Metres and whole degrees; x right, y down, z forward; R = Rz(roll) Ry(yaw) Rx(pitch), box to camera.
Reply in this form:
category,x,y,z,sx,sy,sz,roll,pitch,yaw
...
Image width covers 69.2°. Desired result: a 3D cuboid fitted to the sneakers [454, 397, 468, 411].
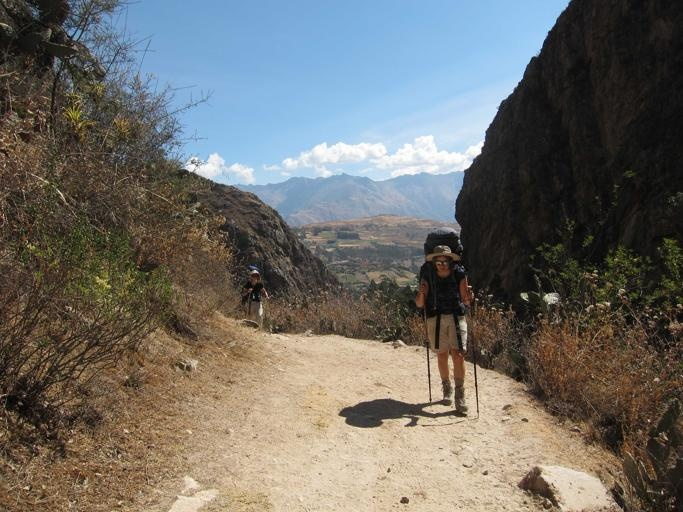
category,x,y,z,sx,sy,sz,roll,pitch,yaw
sneakers,1.988,2.476,8.141,0.194,0.192,0.181,1,6,-19

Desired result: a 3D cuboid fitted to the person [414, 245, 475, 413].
category,x,y,z,sx,sy,sz,roll,pitch,yaw
person,1.764,1.211,8.418,0.994,2.684,0.641,5,6,26

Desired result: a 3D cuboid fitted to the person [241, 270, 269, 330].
category,x,y,z,sx,sy,sz,roll,pitch,yaw
person,-2.239,1.192,12.947,0.575,1.684,0.508,3,24,-8
